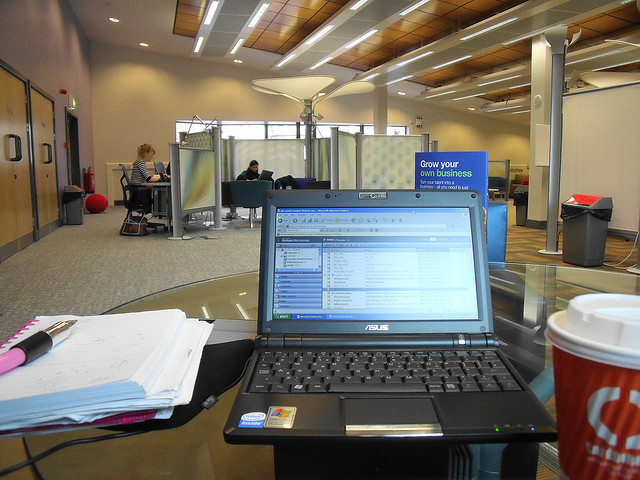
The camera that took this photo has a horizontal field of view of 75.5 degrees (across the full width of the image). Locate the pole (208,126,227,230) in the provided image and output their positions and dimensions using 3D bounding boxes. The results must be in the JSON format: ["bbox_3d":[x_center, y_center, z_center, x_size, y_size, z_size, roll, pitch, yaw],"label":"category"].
[{"bbox_3d":[-1.673,-0.975,6.657,0.270,1.622,0.230,-2,10,-13],"label":"pole"}]

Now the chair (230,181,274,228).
[{"bbox_3d":[-1.084,-0.539,6.373,0.529,0.522,0.469,-21,38,-39],"label":"chair"}]

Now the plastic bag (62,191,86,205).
[{"bbox_3d":[-4.361,-0.733,7.296,0.262,0.171,0.251,-2,8,-15],"label":"plastic bag"}]

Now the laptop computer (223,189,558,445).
[{"bbox_3d":[0.085,0.082,0.588,0.377,0.296,0.317,0,9,1],"label":"laptop computer"}]

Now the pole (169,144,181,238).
[{"bbox_3d":[-1.925,-0.629,5.510,0.106,1.240,0.277,-4,11,-19],"label":"pole"}]

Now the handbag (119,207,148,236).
[{"bbox_3d":[-2.743,-0.274,6.147,0.350,0.406,0.411,0,9,0],"label":"handbag"}]

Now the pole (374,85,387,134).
[{"bbox_3d":[1.885,-4.005,12.792,0.340,1.411,0.436,0,10,1],"label":"pole"}]

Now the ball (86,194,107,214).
[{"bbox_3d":[-5.166,-0.828,9.577,0.428,0.436,0.339,-6,11,-33],"label":"ball"}]

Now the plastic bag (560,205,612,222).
[{"bbox_3d":[2.763,-0.311,4.260,0.343,0.105,0.227,-5,10,-20],"label":"plastic bag"}]
